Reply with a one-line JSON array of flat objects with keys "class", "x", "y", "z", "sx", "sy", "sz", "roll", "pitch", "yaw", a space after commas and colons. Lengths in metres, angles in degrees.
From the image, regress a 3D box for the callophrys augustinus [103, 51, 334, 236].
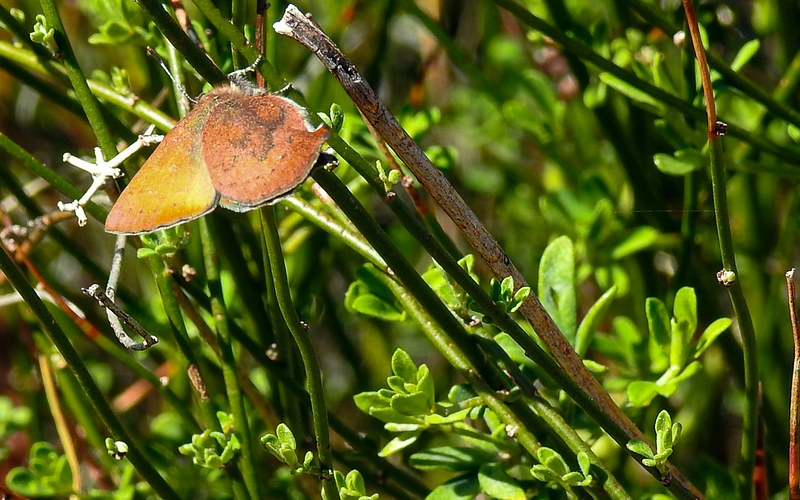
[{"class": "callophrys augustinus", "x": -0.338, "y": -0.186, "z": 1.676, "sx": 0.480, "sy": 0.312, "sz": 0.149, "roll": -17, "pitch": -2, "yaw": 21}]
